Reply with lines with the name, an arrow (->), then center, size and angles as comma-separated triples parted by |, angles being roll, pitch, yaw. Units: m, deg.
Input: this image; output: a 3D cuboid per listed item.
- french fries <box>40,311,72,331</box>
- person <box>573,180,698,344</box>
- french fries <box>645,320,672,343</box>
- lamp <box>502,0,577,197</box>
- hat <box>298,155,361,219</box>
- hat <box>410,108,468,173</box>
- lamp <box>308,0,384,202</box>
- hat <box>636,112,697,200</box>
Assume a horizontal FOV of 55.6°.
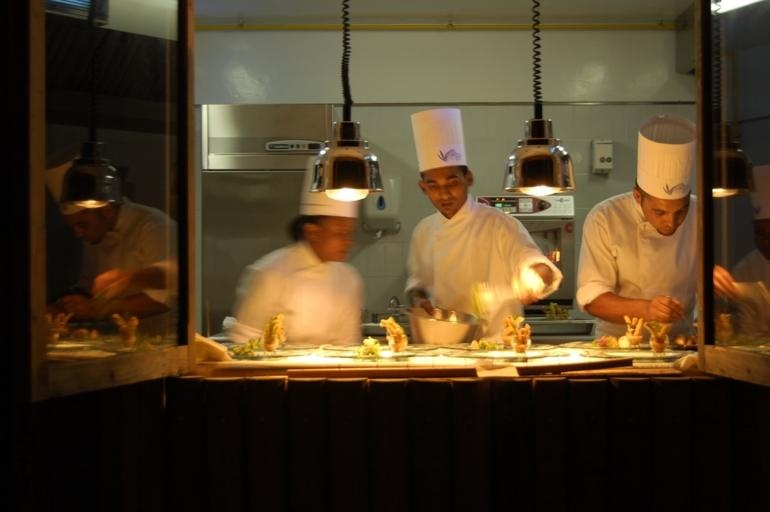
french fries -> -0.894, 0.176, 1.993 | 0.033, 0.052, 0.052 | 11, -34, 3
person -> 1.331, 0.087, 3.652 | 0.688, 0.903, 0.557 | -4, 31, 8
french fries -> 1.033, 0.279, 2.761 | 0.101, 0.069, 0.094 | 2, -19, 11
lamp -> 0.587, -0.580, 2.702 | 0.259, 0.735, 0.395 | 4, 10, 11
hat -> -0.298, -0.331, 3.742 | 0.321, 0.336, 0.305 | 4, -1, -41
hat -> 0.276, -0.593, 3.772 | 0.322, 0.292, 0.311 | -11, 5, -30
lamp -> -0.147, -0.603, 3.005 | 0.270, 0.860, 0.876 | 2, 10, -2
hat -> 1.311, -0.452, 3.408 | 0.271, 0.297, 0.283 | -18, 37, -10
